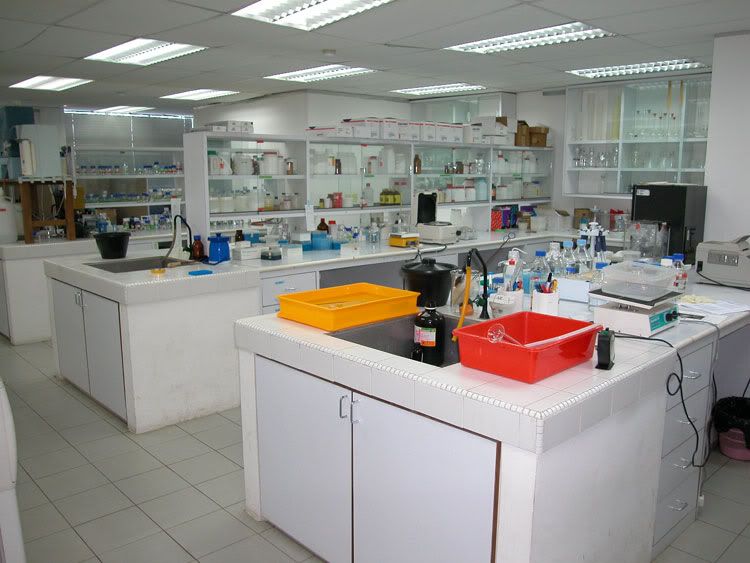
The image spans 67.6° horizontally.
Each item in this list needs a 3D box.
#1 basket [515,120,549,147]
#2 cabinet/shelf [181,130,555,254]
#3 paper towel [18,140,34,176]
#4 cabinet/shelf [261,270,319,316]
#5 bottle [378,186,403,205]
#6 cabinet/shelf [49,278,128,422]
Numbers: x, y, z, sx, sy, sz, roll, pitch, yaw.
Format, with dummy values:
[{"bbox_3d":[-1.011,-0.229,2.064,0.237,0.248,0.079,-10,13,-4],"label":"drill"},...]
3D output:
[{"bbox_3d":[2.004,-1.885,7.209,0.407,0.257,0.402,-10,16,-42],"label":"basket"},{"bbox_3d":[0.126,-1.036,6.150,4.378,1.289,0.856,-11,17,-31],"label":"cabinet/shelf"},{"bbox_3d":[-3.492,-1.244,5.625,0.124,0.358,0.406,-10,16,-30],"label":"paper towel"},{"bbox_3d":[-0.706,0.036,4.583,0.463,0.442,0.306,-9,12,-44],"label":"cabinet/shelf"},{"bbox_3d":[0.164,-0.968,6.219,0.190,0.201,0.206,13,17,41],"label":"bottle"},{"bbox_3d":[-2.115,0.512,4.170,0.819,0.610,0.473,23,19,34],"label":"cabinet/shelf"}]
